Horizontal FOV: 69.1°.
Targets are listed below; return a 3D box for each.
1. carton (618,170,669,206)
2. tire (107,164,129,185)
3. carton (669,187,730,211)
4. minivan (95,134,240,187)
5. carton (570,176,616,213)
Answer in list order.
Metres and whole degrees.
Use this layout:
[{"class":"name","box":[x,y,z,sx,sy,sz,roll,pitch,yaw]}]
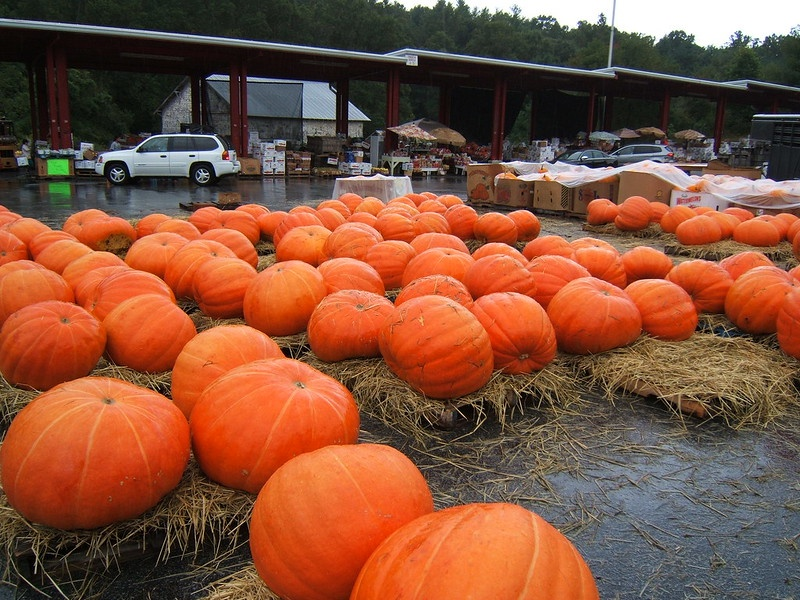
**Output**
[{"class":"carton","box":[4.654,-2.190,11.131,0.713,0.562,0.698,-4,17,-31]},{"class":"tire","box":[-8.576,-3.865,17.636,0.531,0.579,0.191,7,6,-22]},{"class":"carton","box":[5.506,-1.849,10.656,0.625,0.437,0.669,0,13,7]},{"class":"minivan","box":[-7.166,-4.420,18.378,3.752,1.580,1.825,2,9,-7]},{"class":"carton","box":[4.056,-2.226,12.193,0.550,0.743,0.993,-19,26,-36]}]
